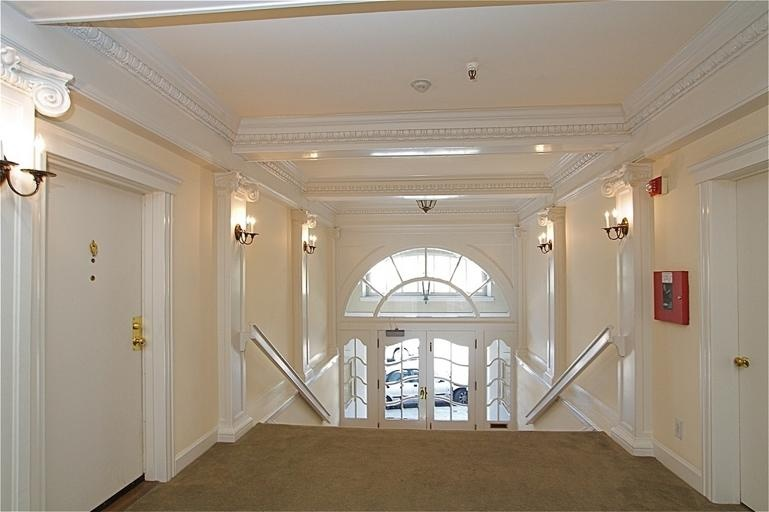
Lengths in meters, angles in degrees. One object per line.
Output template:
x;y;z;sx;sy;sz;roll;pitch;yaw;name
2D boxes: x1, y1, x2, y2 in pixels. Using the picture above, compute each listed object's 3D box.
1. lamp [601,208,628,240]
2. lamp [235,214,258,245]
2.428;-0.351;5.525;0.190;0.365;0.339;3;-5;-1;lamp
-1.538;-0.302;5.804;0.190;0.355;0.331;-3;-7;14;lamp
